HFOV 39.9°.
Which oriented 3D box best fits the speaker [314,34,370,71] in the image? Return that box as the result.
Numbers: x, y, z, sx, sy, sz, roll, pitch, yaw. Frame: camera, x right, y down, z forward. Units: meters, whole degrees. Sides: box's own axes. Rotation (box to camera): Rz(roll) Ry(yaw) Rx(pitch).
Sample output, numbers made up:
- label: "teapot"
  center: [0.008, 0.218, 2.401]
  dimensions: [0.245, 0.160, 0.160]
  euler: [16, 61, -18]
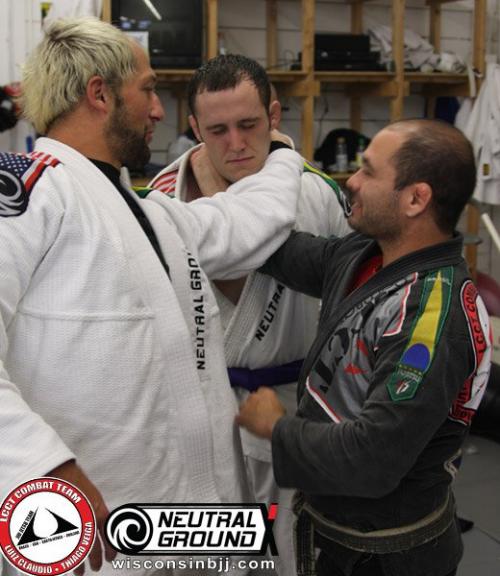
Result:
- label: "speaker"
  center: [0.504, -1.318, 3.918]
  dimensions: [0.321, 0.197, 0.172]
  euler: [-1, 8, -4]
